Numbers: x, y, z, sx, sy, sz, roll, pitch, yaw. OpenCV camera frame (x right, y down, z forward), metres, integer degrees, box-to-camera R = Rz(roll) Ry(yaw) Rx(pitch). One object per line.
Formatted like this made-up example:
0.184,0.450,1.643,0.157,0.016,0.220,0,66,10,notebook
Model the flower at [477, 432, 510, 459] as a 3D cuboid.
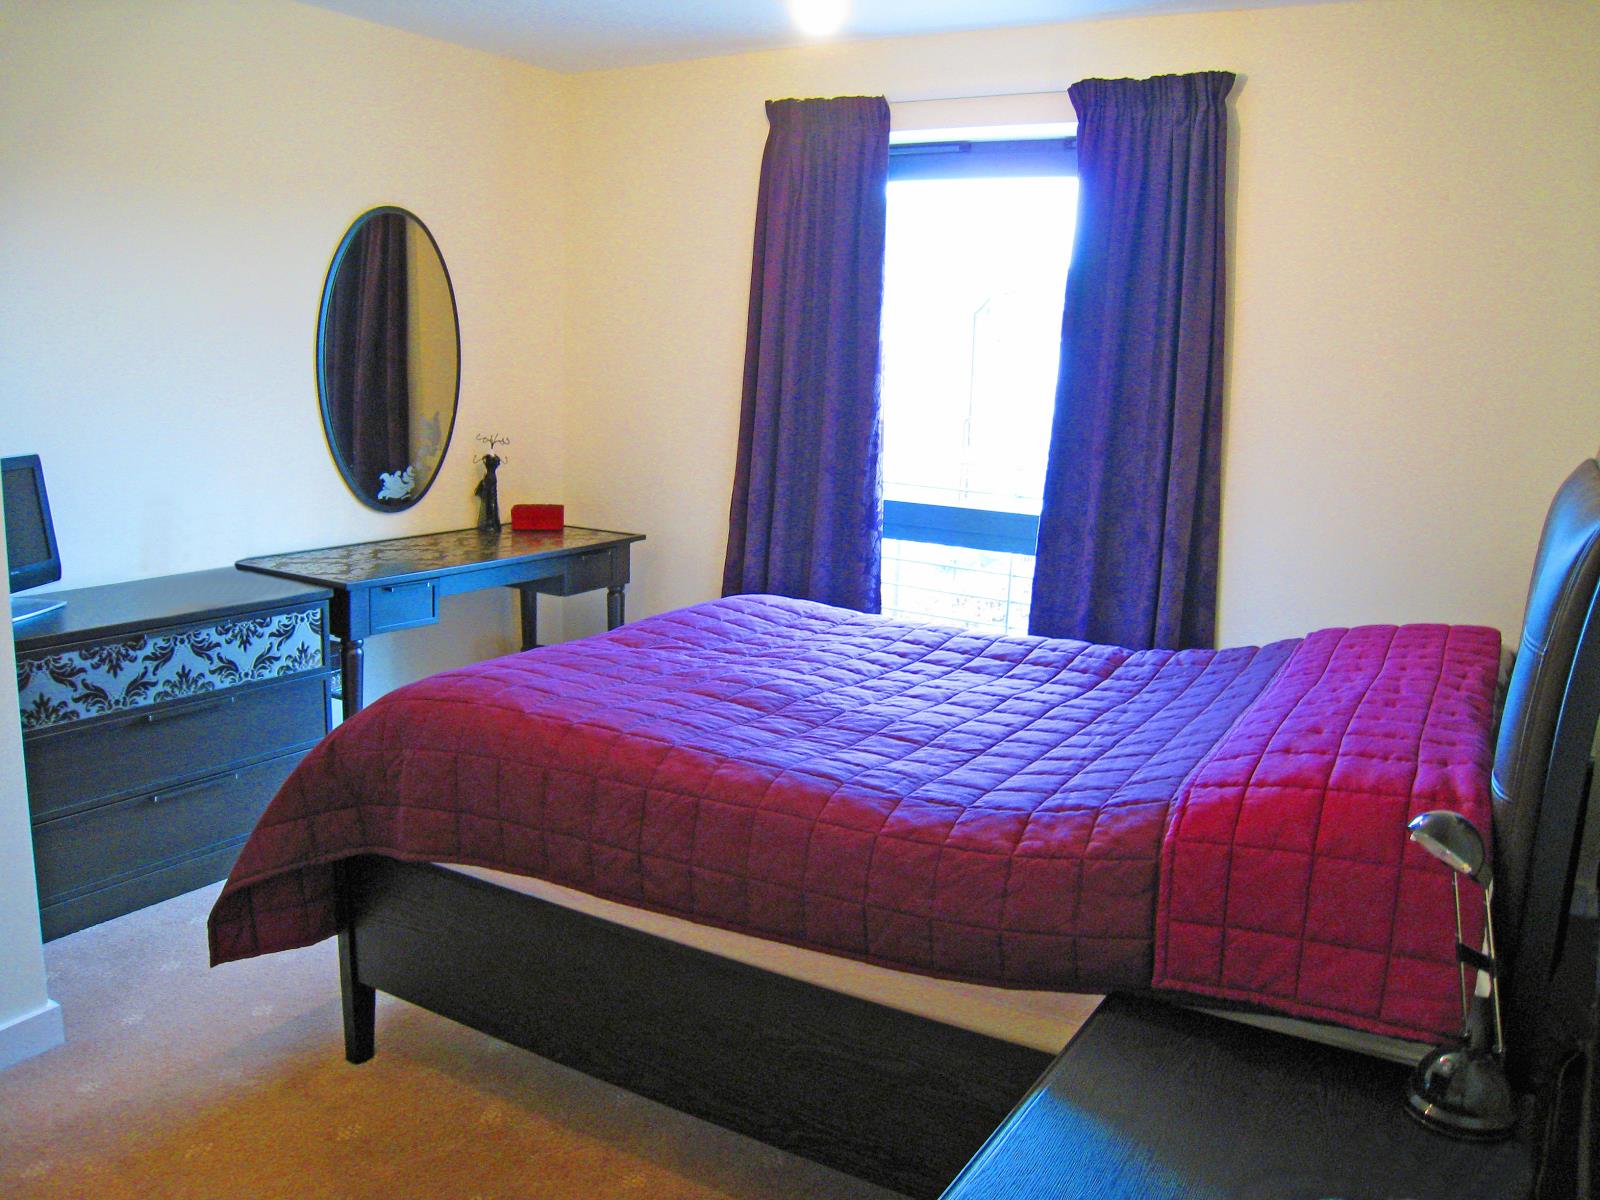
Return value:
-1.238,-0.634,4.993,0.062,0.098,0.172,6,15,22,flower
